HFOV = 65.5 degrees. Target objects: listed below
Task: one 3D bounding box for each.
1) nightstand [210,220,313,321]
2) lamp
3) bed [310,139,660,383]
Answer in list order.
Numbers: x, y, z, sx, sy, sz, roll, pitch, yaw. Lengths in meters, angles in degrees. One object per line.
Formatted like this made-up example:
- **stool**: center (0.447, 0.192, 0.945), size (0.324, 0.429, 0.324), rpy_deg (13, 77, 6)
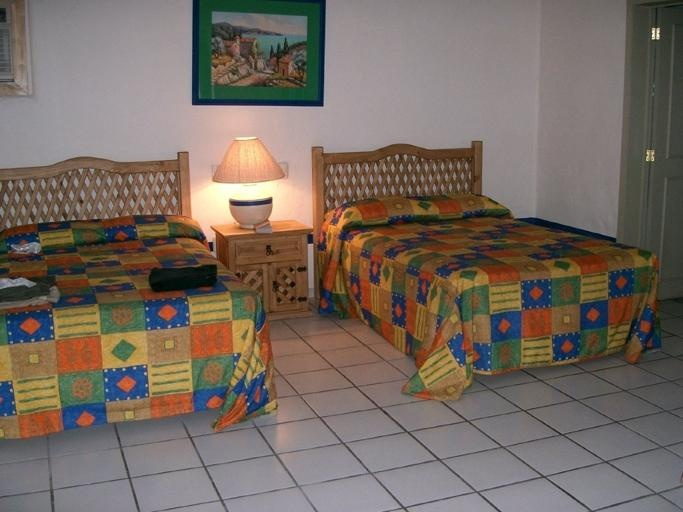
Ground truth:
- **nightstand**: center (-0.641, -0.061, 5.105), size (1.069, 1.060, 0.744), rpy_deg (-6, 12, -27)
- **lamp**: center (-0.806, -0.715, 5.057), size (0.775, 0.854, 0.779), rpy_deg (-4, 15, -12)
- **bed**: center (1.102, 0.139, 4.439), size (2.018, 1.038, 2.058), rpy_deg (-6, 15, -20)
